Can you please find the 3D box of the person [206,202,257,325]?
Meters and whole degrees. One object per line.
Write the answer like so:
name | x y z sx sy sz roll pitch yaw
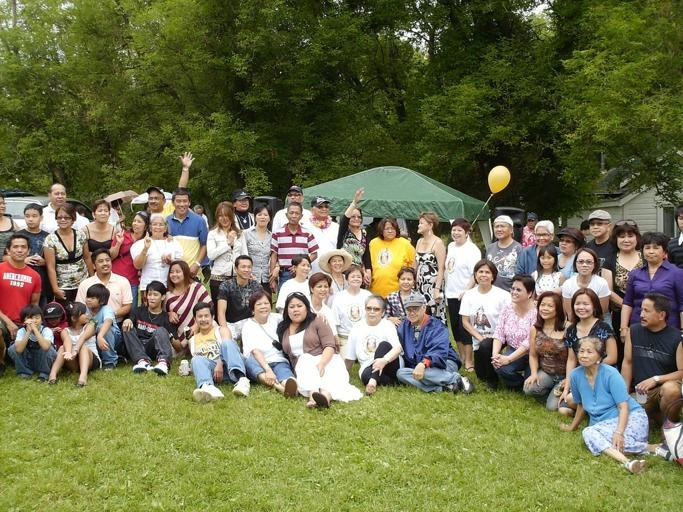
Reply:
person | -1.782 0.287 11.482 0.667 2.363 0.547 -2 15 -4

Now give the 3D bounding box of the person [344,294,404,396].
person | 0.508 1.335 10.326 0.985 1.381 1.146 -1 -11 3

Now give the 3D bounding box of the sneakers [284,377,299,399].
sneakers | -0.677 1.748 9.443 0.180 0.276 0.153 0 2 -3

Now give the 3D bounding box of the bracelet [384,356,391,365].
bracelet | 0.637 1.443 9.817 0.022 0.093 0.092 24 -2 32

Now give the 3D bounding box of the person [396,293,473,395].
person | 1.160 1.252 10.112 1.106 1.411 1.386 -4 -2 -41

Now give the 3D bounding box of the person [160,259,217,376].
person | -2.573 0.807 10.784 1.054 1.429 0.763 -7 14 -31

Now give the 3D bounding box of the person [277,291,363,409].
person | -0.352 1.217 9.715 1.181 1.423 0.670 1 2 34

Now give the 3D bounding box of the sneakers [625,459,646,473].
sneakers | 3.336 2.349 7.940 0.275 0.107 0.115 -4 -6 -29

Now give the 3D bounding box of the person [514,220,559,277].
person | 2.951 0.029 10.533 0.596 1.134 0.328 8 6 23

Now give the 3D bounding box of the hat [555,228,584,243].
hat | 3.303 -0.306 10.080 0.232 0.117 0.321 14 -10 41

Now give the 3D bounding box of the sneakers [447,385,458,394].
sneakers | 1.562 1.848 9.860 0.141 0.110 0.065 1 6 -21

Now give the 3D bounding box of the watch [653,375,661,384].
watch | 3.859 1.512 8.684 0.067 0.107 0.096 0 -8 4

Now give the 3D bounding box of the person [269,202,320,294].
person | -0.766 0.128 11.402 0.826 2.002 0.600 -3 14 -9

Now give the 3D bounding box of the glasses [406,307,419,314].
glasses | 1.005 0.760 9.970 0.131 0.106 0.055 -9 39 20

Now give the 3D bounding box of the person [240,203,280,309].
person | -1.319 0.197 11.464 0.652 2.015 0.514 -2 11 -38

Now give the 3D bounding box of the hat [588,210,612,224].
hat | 3.720 -0.575 10.085 0.317 0.174 0.447 -1 -4 31

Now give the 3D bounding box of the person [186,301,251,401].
person | -1.837 1.266 9.933 0.709 1.254 1.616 -11 2 -14

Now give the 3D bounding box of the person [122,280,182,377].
person | -2.827 1.055 10.522 0.751 1.403 1.396 8 -10 -27

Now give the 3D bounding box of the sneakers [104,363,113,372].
sneakers | -3.412 1.628 10.360 0.163 0.068 0.075 2 -35 0

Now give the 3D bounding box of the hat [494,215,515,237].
hat | 2.487 -0.492 10.844 0.264 0.301 0.297 0 2 25

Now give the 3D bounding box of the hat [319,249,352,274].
hat | -0.102 0.084 10.900 0.377 0.388 0.101 -27 47 2

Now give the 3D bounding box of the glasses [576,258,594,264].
glasses | 3.238 0.061 9.374 0.202 0.071 0.044 0 2 15

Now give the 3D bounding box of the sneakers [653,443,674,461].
sneakers | 3.697 2.255 8.107 0.107 0.150 0.191 -1 2 -21

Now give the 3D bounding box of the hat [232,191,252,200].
hat | -1.752 -1.065 12.139 0.249 0.136 0.361 -3 4 -22

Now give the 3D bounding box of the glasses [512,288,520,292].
glasses | 2.405 0.462 9.747 0.037 0.061 0.125 -2 2 -38

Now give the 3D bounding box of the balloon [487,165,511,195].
balloon | 3.579 -1.791 15.988 0.406 0.595 0.860 0 2 17

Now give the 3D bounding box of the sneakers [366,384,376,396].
sneakers | 0.396 1.833 9.647 0.107 0.151 0.065 14 -12 6

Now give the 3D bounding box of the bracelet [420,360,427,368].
bracelet | 1.147 1.499 9.825 0.081 0.023 0.085 -22 45 -10

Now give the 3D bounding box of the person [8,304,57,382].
person | -4.372 1.209 10.011 0.633 1.048 0.320 0 2 16

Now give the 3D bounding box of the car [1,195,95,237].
car | -4.990 -0.679 11.880 1.556 0.837 0.926 -7 13 -18

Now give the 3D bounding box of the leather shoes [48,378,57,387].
leather shoes | -4.014 1.746 9.817 0.121 0.072 0.164 -1 2 -22

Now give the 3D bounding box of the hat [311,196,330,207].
hat | -0.393 -0.924 11.811 0.206 0.130 0.323 -1 0 -25

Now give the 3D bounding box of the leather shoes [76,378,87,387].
leather shoes | -3.595 1.749 9.765 0.141 0.076 0.119 -1 2 -13

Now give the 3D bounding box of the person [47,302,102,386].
person | -3.831 1.225 9.998 0.586 0.995 0.958 2 13 -12

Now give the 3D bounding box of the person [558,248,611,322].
person | 3.298 0.636 9.590 0.563 1.432 0.414 1 6 25

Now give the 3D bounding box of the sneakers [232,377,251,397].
sneakers | -1.350 1.758 9.559 0.213 0.226 0.287 -1 2 -6

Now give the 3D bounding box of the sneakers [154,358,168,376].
sneakers | -2.609 1.613 10.235 0.207 0.199 0.218 -1 2 -14

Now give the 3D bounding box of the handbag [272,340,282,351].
handbag | -0.900 1.248 9.942 0.090 0.159 0.051 -41 9 1

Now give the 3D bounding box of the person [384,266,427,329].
person | 0.952 0.626 10.571 0.635 0.955 0.532 -2 22 -7

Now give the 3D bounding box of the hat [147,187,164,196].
hat | -3.059 -1.100 11.596 0.223 0.151 0.373 -1 2 -14

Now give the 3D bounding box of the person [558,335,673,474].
person | 3.106 1.712 8.255 0.836 1.304 1.717 -14 6 6

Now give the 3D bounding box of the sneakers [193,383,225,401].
sneakers | -1.748 1.795 9.304 0.358 0.186 0.148 0 46 -2

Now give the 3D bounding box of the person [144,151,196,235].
person | -2.909 -1.220 12.154 0.695 1.424 0.603 10 -36 -18

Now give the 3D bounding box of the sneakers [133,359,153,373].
sneakers | -2.914 1.604 10.298 0.125 0.154 0.323 -11 -17 32

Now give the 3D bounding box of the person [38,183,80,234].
person | -4.556 -0.829 11.448 0.567 0.505 1.011 0 10 4

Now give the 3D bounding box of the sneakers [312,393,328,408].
sneakers | -0.267 1.858 9.126 0.216 0.215 0.108 -1 2 -4

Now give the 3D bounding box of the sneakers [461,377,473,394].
sneakers | 1.746 1.791 9.789 0.110 0.261 0.093 -25 25 12

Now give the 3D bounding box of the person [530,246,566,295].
person | 2.963 0.282 10.246 0.531 0.904 0.484 5 13 31
